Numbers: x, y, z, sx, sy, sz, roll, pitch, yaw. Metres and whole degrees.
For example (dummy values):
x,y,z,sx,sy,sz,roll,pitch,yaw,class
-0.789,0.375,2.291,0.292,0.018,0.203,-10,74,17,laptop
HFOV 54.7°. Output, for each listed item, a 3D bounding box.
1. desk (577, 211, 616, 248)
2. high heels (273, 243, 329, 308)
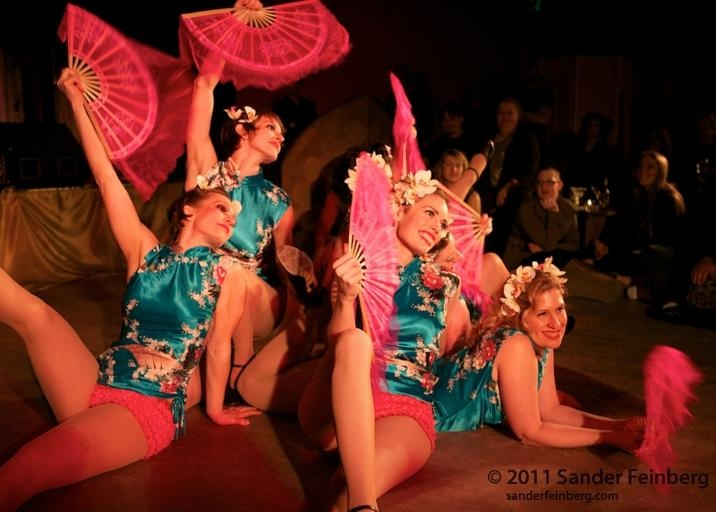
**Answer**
x,y,z,sx,sy,sz,roll,pitch,yaw,class
2.555,-0.334,7.425,0.344,0.367,0.393,14,20,29,desk
-0.359,0.119,4.233,0.179,0.527,0.208,-27,-8,-26,high heels
